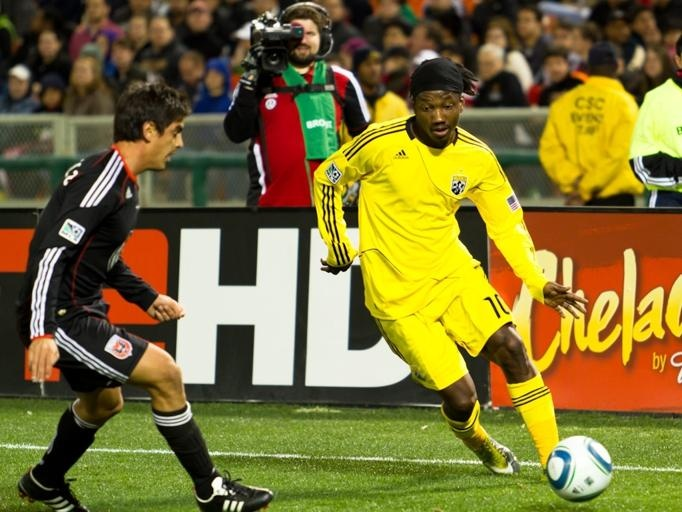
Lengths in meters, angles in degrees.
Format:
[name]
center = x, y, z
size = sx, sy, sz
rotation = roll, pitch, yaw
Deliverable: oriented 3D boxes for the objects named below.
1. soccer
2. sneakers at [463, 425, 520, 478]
[soccer]
center = 1.415, 1.270, 7.356
size = 0.386, 0.356, 0.349
rotation = -3, -19, -23
[sneakers]
center = 0.976, 1.296, 8.003
size = 0.105, 0.315, 0.141
rotation = -39, 13, 32
